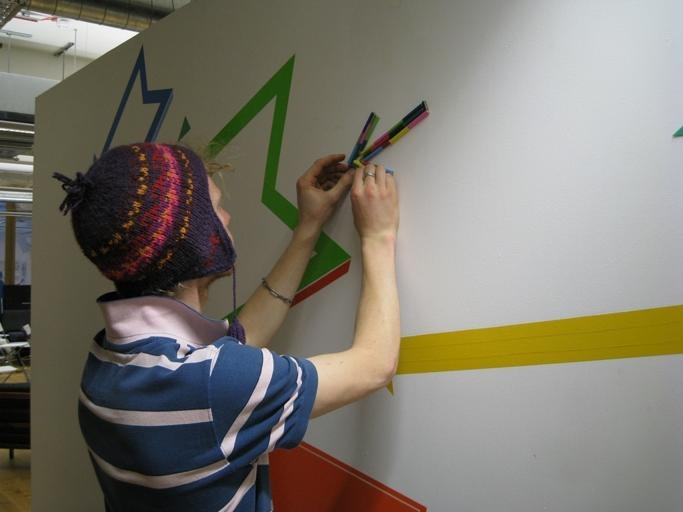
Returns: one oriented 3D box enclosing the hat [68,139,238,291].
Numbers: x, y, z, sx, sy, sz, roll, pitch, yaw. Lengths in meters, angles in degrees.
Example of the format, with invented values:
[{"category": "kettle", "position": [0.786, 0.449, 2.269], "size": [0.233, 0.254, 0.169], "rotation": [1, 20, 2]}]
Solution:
[{"category": "hat", "position": [-0.441, -0.114, 1.270], "size": [0.345, 0.330, 0.273], "rotation": [-41, 23, -19]}]
